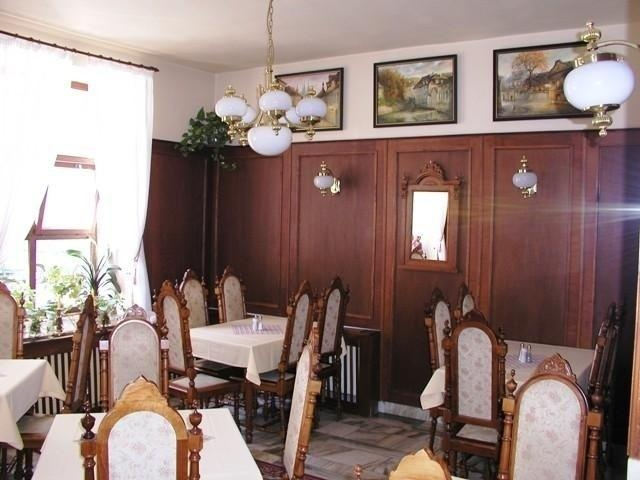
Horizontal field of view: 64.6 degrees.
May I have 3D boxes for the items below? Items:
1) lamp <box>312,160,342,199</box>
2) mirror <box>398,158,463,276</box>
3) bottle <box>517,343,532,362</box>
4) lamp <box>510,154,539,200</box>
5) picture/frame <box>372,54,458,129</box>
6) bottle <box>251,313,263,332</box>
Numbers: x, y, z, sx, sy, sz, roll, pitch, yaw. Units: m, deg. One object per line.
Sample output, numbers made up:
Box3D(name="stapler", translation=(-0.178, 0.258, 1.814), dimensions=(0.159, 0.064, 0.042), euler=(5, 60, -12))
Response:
Box3D(name="lamp", translation=(0.081, -0.718, 6.036), dimensions=(0.263, 0.358, 0.184), euler=(2, -4, -25))
Box3D(name="mirror", translation=(1.215, -0.246, 5.588), dimensions=(0.644, 1.260, 0.158), euler=(3, 24, 16))
Box3D(name="bottle", translation=(1.783, 0.983, 4.450), dimensions=(0.119, 0.197, 0.140), euler=(1, -2, 18))
Box3D(name="lamp", translation=(2.081, -0.646, 5.146), dimensions=(0.240, 0.425, 0.230), euler=(2, 4, 24))
Box3D(name="picture/frame", translation=(1.095, -1.656, 5.642), dimensions=(0.790, 0.646, 0.021), euler=(2, 5, 34))
Box3D(name="bottle", translation=(-0.693, 0.901, 5.559), dimensions=(0.116, 0.238, 0.125), euler=(0, 4, 0))
